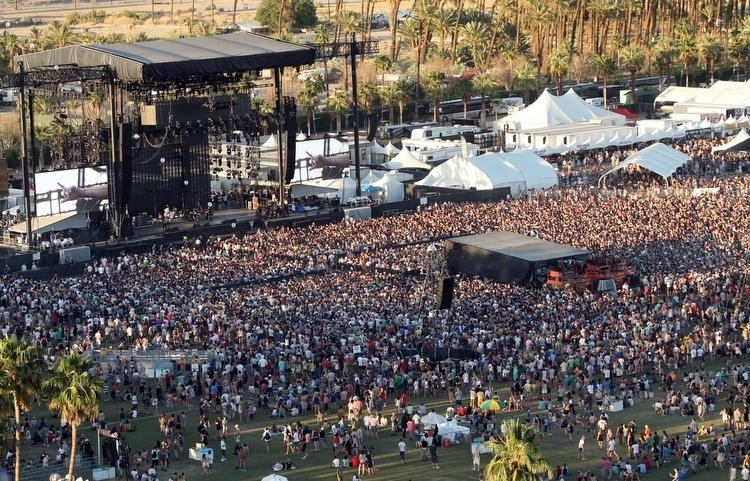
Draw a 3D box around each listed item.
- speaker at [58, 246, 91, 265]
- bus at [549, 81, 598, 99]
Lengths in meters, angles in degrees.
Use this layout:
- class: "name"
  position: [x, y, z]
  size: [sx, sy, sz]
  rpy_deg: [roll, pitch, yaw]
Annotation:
- class: "speaker"
  position: [-24.410, 1.251, 154.180]
  size: [2.484, 1.383, 1.678]
  rpy_deg: [-2, 21, -36]
- class: "bus"
  position: [23.749, -18.098, 222.065]
  size: [5.576, 1.795, 14.853]
  rpy_deg: [0, 11, 2]
